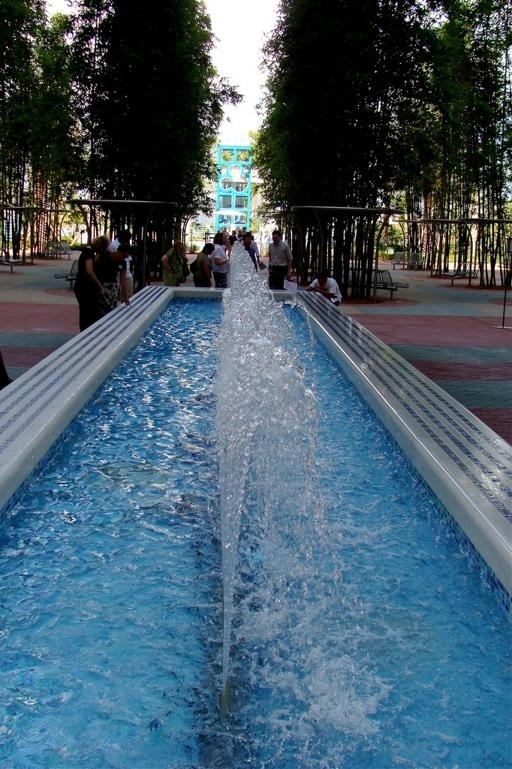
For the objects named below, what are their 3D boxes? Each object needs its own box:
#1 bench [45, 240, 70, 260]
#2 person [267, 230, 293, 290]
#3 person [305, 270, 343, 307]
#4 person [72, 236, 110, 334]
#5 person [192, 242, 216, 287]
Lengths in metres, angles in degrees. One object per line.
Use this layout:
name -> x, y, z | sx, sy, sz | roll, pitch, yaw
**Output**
bench -> -13.124, -8.704, 36.325 | 1.272, 0.984, 2.543 | 1, 13, -10
person -> 0.651, -3.401, 15.258 | 0.624, 1.577, 1.973 | 3, 12, 0
person -> 1.493, -2.032, 12.000 | 0.644, 0.680, 1.523 | 3, 13, 0
person -> -2.289, -1.358, 7.697 | 0.441, 1.315, 0.985 | 0, 13, -15
person -> -1.309, -2.906, 13.605 | 0.489, 1.040, 1.666 | 2, 13, -6
